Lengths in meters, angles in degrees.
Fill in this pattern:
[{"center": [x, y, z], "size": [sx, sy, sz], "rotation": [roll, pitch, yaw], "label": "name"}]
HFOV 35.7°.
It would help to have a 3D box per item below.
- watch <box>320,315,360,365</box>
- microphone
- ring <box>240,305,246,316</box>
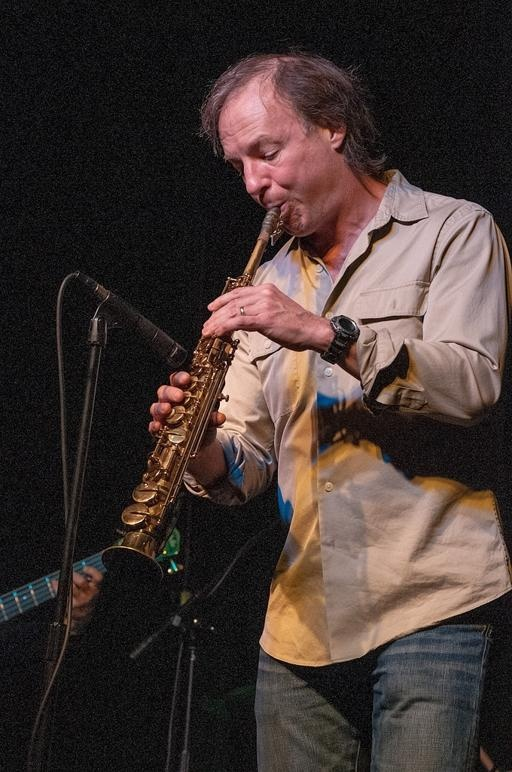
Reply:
[{"center": [0.157, -0.084, 1.480], "size": [0.054, 0.075, 0.079], "rotation": [32, 46, -1], "label": "watch"}, {"center": [-0.318, -0.156, 2.020], "size": [0.109, 0.362, 0.079], "rotation": [-44, 18, 30], "label": "microphone"}, {"center": [-0.023, -0.140, 1.485], "size": [0.013, 0.016, 0.007], "rotation": [-25, -39, 36], "label": "ring"}]
